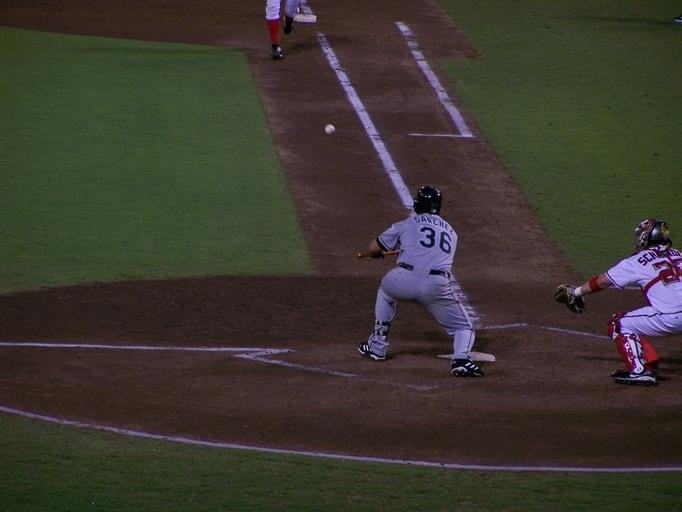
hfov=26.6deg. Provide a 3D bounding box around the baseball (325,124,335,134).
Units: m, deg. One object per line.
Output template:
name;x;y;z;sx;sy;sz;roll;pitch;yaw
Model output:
baseball;-0.169;-2.012;22.868;0.181;0.131;0.171;-9;14;-40

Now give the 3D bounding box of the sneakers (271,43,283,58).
sneakers;-1.088;-3.548;25.054;0.125;0.122;0.303;-7;24;-5

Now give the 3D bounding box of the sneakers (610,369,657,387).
sneakers;3.441;1.401;16.937;0.559;0.197;0.183;5;8;12

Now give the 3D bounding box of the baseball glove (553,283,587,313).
baseball glove;2.829;0.486;17.835;0.474;0.209;0.223;39;80;12

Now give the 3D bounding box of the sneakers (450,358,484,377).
sneakers;1.465;1.315;17.077;0.469;0.153;0.168;4;9;0

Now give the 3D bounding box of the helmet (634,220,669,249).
helmet;3.727;-0.290;17.418;0.382;0.341;0.404;-2;21;1
